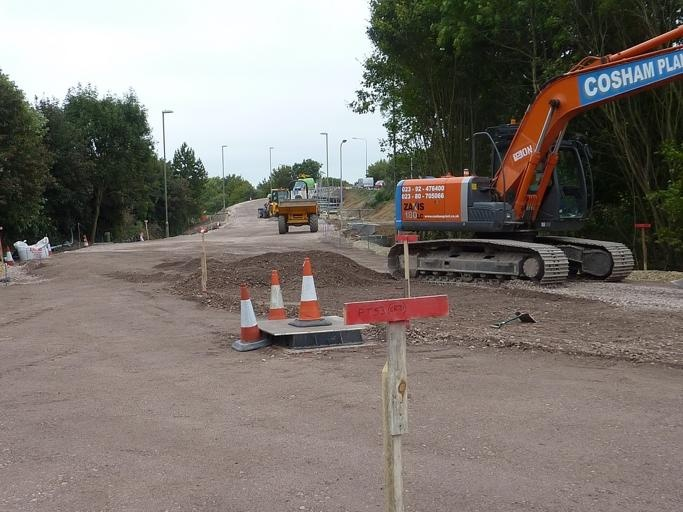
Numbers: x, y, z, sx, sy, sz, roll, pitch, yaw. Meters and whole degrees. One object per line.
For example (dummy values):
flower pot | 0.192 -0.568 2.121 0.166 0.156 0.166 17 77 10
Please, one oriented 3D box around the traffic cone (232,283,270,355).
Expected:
traffic cone | -1.570 0.999 9.747 0.661 1.078 0.694 -9 5 -26

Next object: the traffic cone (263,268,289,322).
traffic cone | -1.226 0.769 10.968 0.680 0.994 0.710 -6 2 -5

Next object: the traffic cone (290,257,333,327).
traffic cone | -0.557 0.648 10.101 0.671 1.181 0.753 1 12 -21

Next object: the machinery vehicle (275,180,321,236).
machinery vehicle | -3.297 -4.109 44.642 2.751 4.354 11.384 -1 4 -3
